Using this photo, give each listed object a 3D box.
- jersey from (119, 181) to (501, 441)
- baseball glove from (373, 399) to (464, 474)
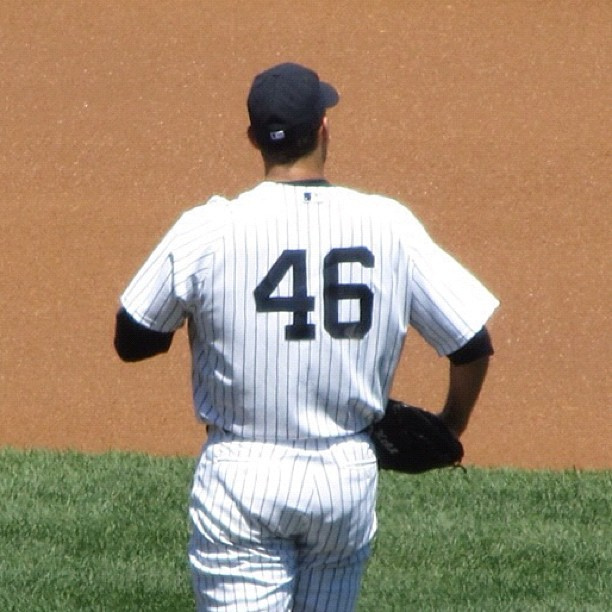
[{"bbox_3d":[0.016,0.234,12.042,2.098,2.098,1.160,0,-21,1],"label":"jersey"},{"bbox_3d":[0.664,0.800,12.037,0.586,0.454,0.512,7,17,-3],"label":"baseball glove"}]
